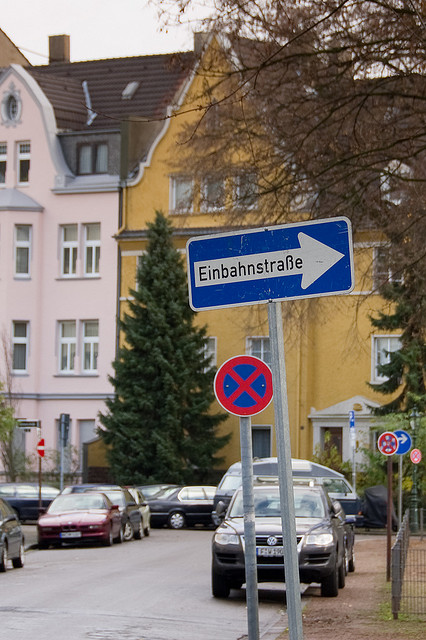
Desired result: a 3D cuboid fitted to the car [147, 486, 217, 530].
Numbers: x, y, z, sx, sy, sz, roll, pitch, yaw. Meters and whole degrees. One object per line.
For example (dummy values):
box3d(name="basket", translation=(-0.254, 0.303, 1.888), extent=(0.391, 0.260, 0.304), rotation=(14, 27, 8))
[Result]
box3d(name="car", translation=(-0.681, 4.430, 38.572), extent=(2.187, 1.001, 1.198), rotation=(-3, -3, -2))

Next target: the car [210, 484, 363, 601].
box3d(name="car", translation=(1.053, 2.842, 21.573), extent=(1.148, 1.197, 2.549), rotation=(-2, -15, 6))

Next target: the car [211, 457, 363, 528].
box3d(name="car", translation=(1.564, 3.341, 34.112), extent=(3.084, 2.380, 2.133), rotation=(-1, -4, 2))

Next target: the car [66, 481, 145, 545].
box3d(name="car", translation=(-1.908, 3.793, 33.149), extent=(0.842, 0.936, 2.377), rotation=(-1, -14, 4))

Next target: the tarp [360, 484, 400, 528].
box3d(name="tarp", translation=(3.872, 4.293, 37.380), extent=(0.842, 1.269, 0.793), rotation=(-2, 2, -4))
